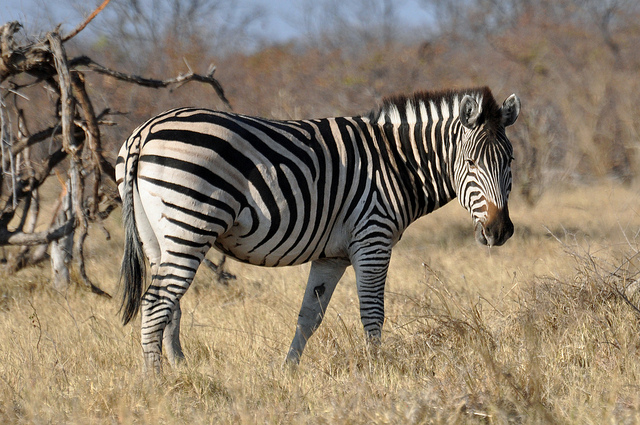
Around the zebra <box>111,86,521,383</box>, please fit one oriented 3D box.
[{"bbox_3d":[0.095,0.366,13.613,5.262,4.371,1.885,1,5,-9],"label":"zebra"}]
